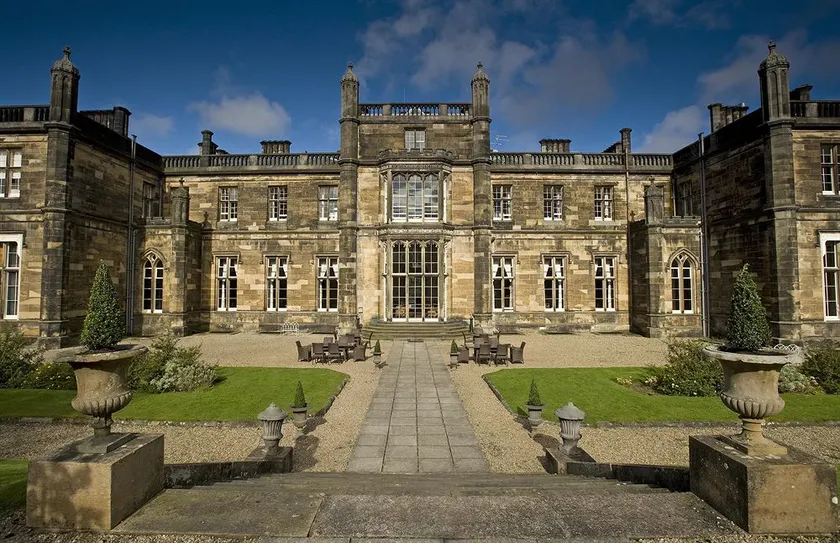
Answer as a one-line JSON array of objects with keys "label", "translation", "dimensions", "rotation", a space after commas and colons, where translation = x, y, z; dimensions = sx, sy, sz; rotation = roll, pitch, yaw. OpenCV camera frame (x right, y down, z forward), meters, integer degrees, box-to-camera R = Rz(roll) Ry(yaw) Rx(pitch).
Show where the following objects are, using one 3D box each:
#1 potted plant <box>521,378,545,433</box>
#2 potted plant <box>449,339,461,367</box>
[{"label": "potted plant", "translation": [4.653, 5.449, 29.148], "dimensions": [0.687, 1.991, 0.804], "rotation": [-2, -3, 7]}, {"label": "potted plant", "translation": [1.698, 4.070, 35.238], "dimensions": [0.503, 1.214, 1.126], "rotation": [-2, -3, 2]}]
